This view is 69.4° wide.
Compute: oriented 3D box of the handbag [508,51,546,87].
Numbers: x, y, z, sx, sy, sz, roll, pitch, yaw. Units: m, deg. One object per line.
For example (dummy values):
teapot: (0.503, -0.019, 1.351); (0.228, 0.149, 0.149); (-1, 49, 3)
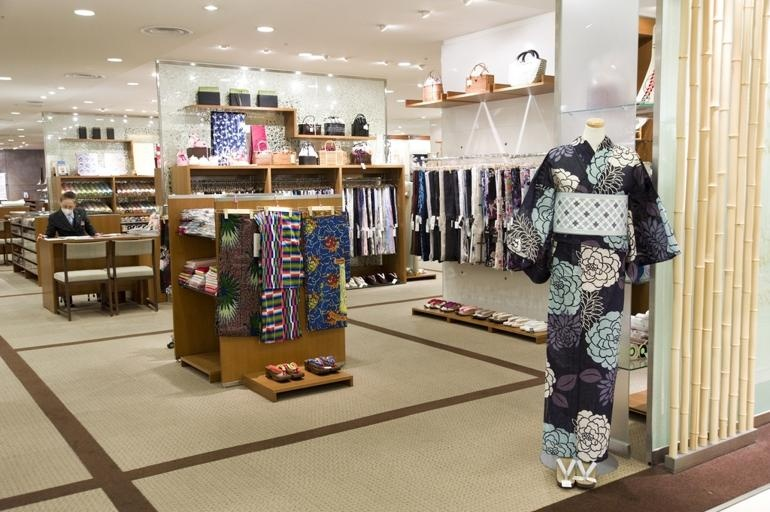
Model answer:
handbag: (1.759, -2.308, 6.834); (0.353, 0.470, 0.638); (-2, 10, -9)

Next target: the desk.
desk: (-4.265, 0.257, 8.541); (1.536, 1.140, 1.158); (-4, 13, -29)

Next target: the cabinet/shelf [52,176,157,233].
cabinet/shelf: (-6.355, -1.162, 12.489); (1.829, 1.545, 0.565); (-2, 1, -21)

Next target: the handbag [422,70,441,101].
handbag: (0.670, -2.378, 7.801); (0.254, 0.437, 0.525); (-1, 10, 0)

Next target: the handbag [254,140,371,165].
handbag: (-1.306, -1.829, 9.811); (2.108, 0.451, 0.829); (-5, 11, -26)

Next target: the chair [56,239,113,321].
chair: (-4.426, 0.309, 8.156); (0.729, 1.080, 1.183); (-7, 11, -30)

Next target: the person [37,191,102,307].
person: (-5.131, -0.438, 9.018); (0.592, 1.044, 0.910); (22, 27, 38)

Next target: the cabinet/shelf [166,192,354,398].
cabinet/shelf: (-1.012, 0.128, 6.420); (1.854, 2.388, 2.342); (1, 2, 39)

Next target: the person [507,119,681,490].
person: (1.326, 0.322, 3.714); (1.012, 2.424, 0.539); (3, 11, 22)
